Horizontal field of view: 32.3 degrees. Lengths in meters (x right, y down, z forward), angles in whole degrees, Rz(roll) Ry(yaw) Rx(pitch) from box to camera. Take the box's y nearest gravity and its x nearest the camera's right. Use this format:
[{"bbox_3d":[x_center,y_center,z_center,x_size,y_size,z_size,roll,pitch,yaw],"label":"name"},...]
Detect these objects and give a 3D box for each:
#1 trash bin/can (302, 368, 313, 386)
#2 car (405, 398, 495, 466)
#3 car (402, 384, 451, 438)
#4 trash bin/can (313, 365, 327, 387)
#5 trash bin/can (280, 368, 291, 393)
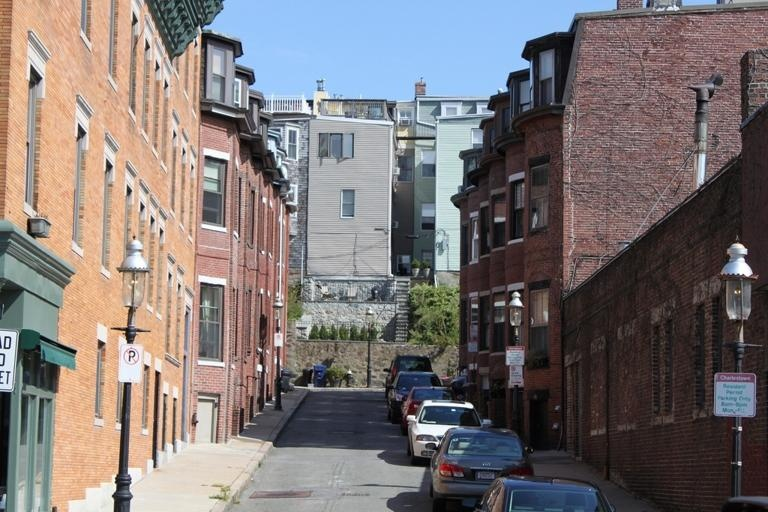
[{"bbox_3d":[-4.004,6.471,70.165,0.772,0.921,0.475,-6,-17,17],"label":"trash bin/can"},{"bbox_3d":[2.108,5.283,39.652,2.858,1.660,2.675,1,-9,-9],"label":"car"},{"bbox_3d":[1.329,5.388,46.365,1.339,1.407,3.098,0,-5,2],"label":"car"},{"bbox_3d":[-3.342,6.404,70.070,0.715,1.152,0.529,1,-16,-3],"label":"trash bin/can"},{"bbox_3d":[-4.619,5.899,62.429,0.707,1.256,1.148,0,-7,-1],"label":"trash bin/can"}]
